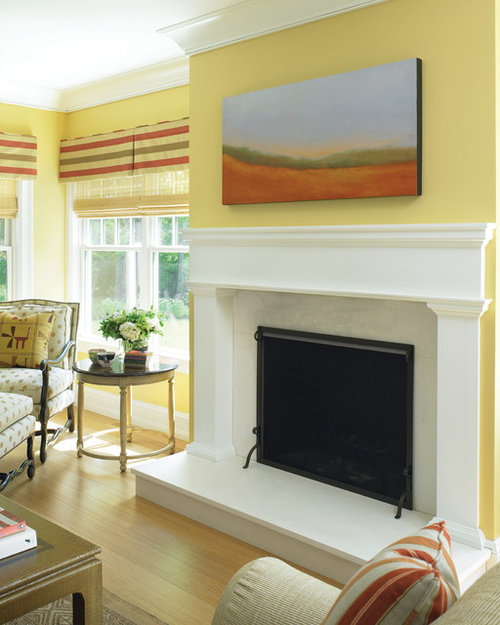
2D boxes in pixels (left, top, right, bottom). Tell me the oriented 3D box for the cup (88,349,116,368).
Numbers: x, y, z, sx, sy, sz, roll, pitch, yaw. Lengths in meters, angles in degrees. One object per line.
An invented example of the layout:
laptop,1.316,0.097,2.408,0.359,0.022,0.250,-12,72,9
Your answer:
cup,-1.029,0.320,3.521,0.144,0.076,0.134,-1,3,0

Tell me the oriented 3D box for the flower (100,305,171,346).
flower,-0.834,0.124,3.609,0.369,0.319,0.399,11,3,-13
